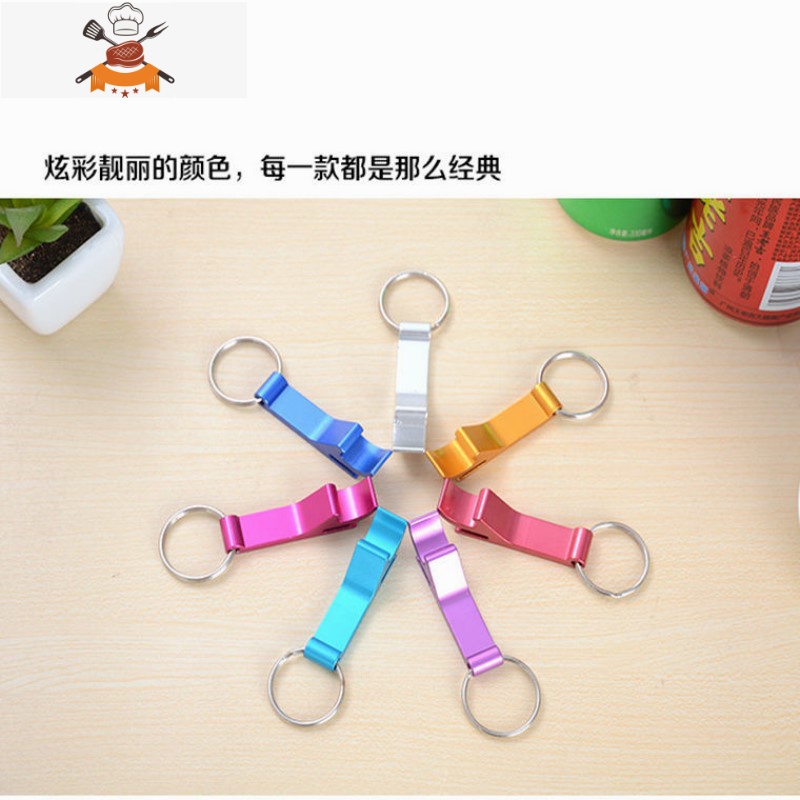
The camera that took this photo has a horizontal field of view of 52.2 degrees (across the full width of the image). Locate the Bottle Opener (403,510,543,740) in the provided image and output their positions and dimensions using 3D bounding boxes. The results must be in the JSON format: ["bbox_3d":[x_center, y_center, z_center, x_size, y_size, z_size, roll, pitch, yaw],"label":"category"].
[{"bbox_3d":[0.047,0.185,0.711,0.082,0.042,0.202,-20,71,-12],"label":"Bottle Opener"}]

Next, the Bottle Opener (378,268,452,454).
[{"bbox_3d":[0.023,-0.035,0.776,0.078,0.037,0.175,0,73,-3],"label":"Bottle Opener"}]

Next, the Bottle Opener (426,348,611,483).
[{"bbox_3d":[0.105,0.020,0.809,0.230,0.037,0.076,-29,73,-5],"label":"Bottle Opener"}]

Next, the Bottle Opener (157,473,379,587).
[{"bbox_3d":[-0.102,0.122,0.763,0.251,0.054,0.073,-11,71,-3],"label":"Bottle Opener"}]

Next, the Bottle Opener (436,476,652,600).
[{"bbox_3d":[0.114,0.131,0.768,0.248,0.053,0.075,16,72,3],"label":"Bottle Opener"}]
